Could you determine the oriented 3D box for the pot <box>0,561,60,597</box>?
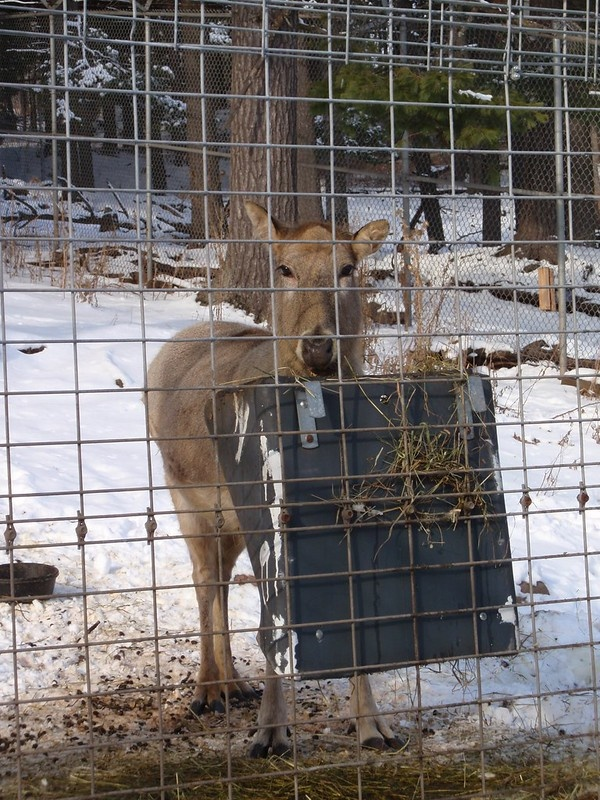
[{"bbox_3d":[-1.579,1.066,7.638,0.334,0.205,0.642,-3,5,-11],"label":"pot"}]
